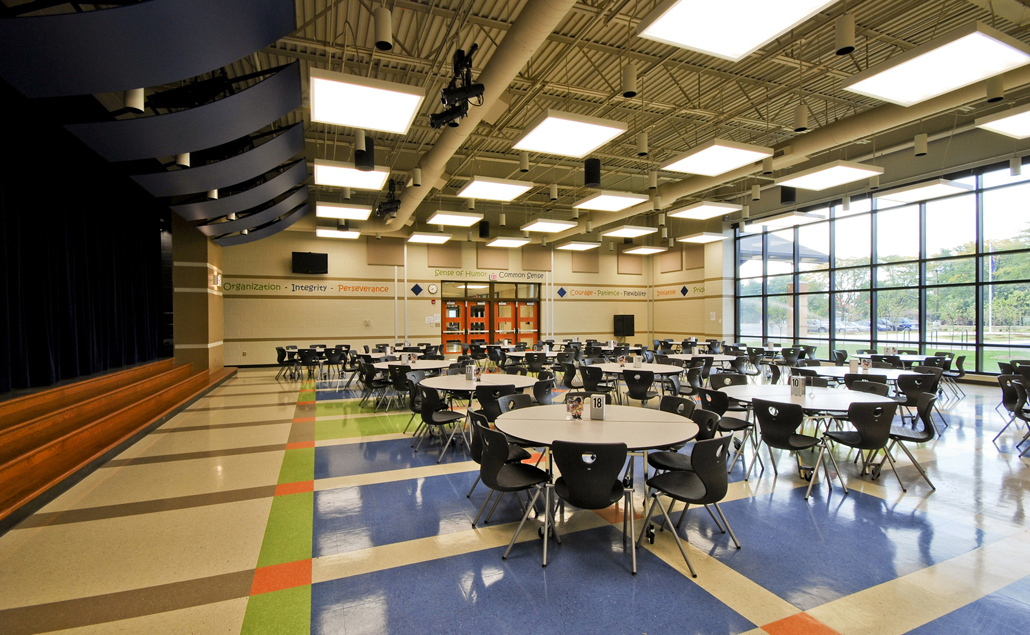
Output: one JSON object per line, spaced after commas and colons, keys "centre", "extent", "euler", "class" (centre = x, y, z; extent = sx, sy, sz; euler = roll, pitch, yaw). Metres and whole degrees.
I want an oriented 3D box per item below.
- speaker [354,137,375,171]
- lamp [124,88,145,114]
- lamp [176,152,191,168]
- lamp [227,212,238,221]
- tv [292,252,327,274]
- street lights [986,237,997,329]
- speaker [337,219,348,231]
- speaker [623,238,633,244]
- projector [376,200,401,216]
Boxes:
{"centre": [-2.790, -3.192, 11.294], "extent": [0.360, 0.680, 0.753], "euler": [1, -1, -15], "class": "speaker"}
{"centre": [-5.683, -3.311, 9.021], "extent": [0.312, 0.291, 0.542], "euler": [-5, 0, -25], "class": "lamp"}
{"centre": [-5.911, -2.871, 10.761], "extent": [0.234, 0.282, 0.416], "euler": [-7, 7, -35], "class": "lamp"}
{"centre": [-6.611, -2.416, 14.112], "extent": [0.327, 0.077, 0.332], "euler": [3, -4, -40], "class": "lamp"}
{"centre": [-6.415, -1.721, 18.738], "extent": [0.770, 0.521, 0.096], "euler": [2, -10, -22], "class": "tv"}
{"centre": [11.162, -0.717, 14.095], "extent": [0.328, 1.804, 0.159], "euler": [1, 0, 40], "class": "street lights"}
{"centre": [-4.853, -2.658, 17.025], "extent": [0.295, 0.275, 0.499], "euler": [-1, 1, -3], "class": "speaker"}
{"centre": [4.408, -2.959, 23.067], "extent": [0.339, 0.169, 0.220], "euler": [0, -1, -1], "class": "speaker"}
{"centre": [-3.360, -3.049, 16.234], "extent": [0.501, 0.256, 0.728], "euler": [1, -8, -21], "class": "projector"}
